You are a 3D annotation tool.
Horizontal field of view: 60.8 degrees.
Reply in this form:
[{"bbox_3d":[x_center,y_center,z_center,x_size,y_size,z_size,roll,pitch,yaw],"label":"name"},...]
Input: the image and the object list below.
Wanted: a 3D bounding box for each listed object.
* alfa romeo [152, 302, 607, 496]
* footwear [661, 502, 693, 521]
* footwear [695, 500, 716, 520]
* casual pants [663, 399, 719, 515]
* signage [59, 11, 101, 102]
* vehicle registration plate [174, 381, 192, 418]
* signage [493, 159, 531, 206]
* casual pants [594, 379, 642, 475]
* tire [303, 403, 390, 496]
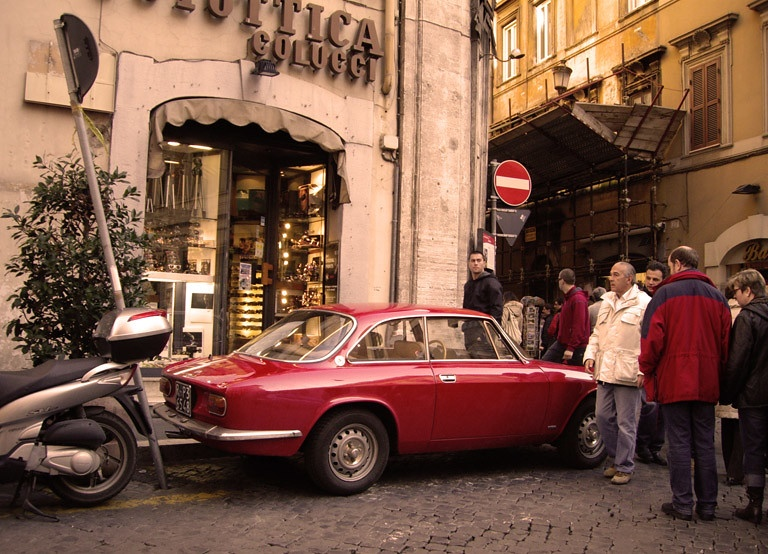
[{"bbox_3d":[0.071,1.247,7.015,4.533,1.828,0.923,2,2,-23],"label":"alfa romeo"},{"bbox_3d":[2.812,2.271,6.299,0.105,0.098,0.251,-3,10,-24],"label":"footwear"},{"bbox_3d":[3.124,2.257,6.284,0.266,0.121,0.148,2,2,-15],"label":"footwear"},{"bbox_3d":[3.007,1.668,6.366,0.481,1.251,0.378,4,-36,16],"label":"casual pants"},{"bbox_3d":[-2.994,-2.178,6.485,0.320,0.840,0.179,-19,47,-35],"label":"signage"},{"bbox_3d":[-1.994,1.218,6.498,0.035,0.321,0.396,1,3,-36],"label":"vehicle registration plate"},{"bbox_3d":[2.269,-1.679,11.659,0.646,0.789,0.428,3,2,6],"label":"signage"},{"bbox_3d":[2.689,1.671,7.543,0.372,1.183,0.509,3,1,-42],"label":"casual pants"},{"bbox_3d":[-0.390,1.696,6.421,0.782,0.755,0.256,22,-15,-20],"label":"tire"}]
